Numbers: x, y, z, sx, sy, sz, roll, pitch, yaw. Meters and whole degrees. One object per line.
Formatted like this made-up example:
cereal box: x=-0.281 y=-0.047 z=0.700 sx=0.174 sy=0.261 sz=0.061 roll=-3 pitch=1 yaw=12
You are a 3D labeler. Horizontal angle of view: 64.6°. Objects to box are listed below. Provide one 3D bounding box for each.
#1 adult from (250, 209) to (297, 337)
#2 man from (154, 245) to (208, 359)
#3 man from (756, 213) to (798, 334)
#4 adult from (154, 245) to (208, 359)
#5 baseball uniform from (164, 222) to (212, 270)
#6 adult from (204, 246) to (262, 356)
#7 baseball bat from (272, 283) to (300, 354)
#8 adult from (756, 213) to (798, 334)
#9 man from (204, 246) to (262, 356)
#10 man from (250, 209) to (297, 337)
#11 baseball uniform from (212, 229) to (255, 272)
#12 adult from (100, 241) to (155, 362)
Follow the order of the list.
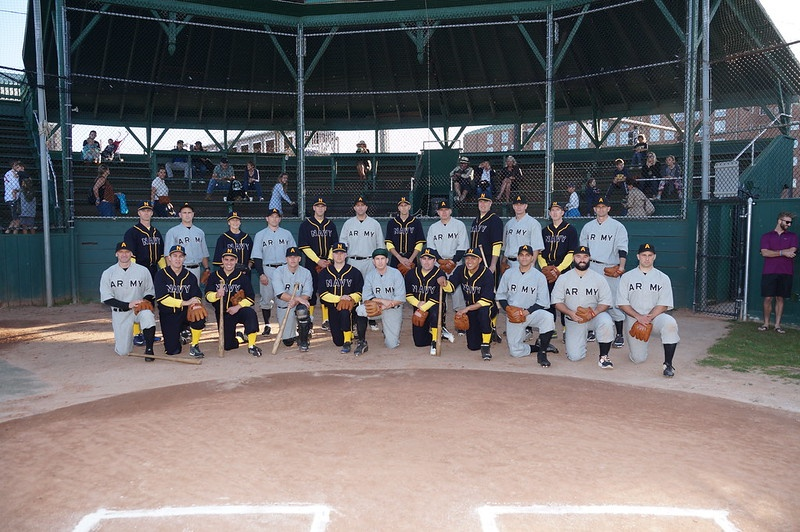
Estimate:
adult: x=-2.896 y=0.164 z=14.783 sx=1.295 sy=2.870 sz=0.929 roll=-5 pitch=10 yaw=-35
man: x=-4.353 y=0.715 z=12.499 sx=0.867 sy=2.013 sz=1.259 roll=-6 pitch=16 yaw=-21
man: x=8.009 y=0.141 z=13.494 sx=0.664 sy=2.529 sz=0.759 roll=8 pitch=17 yaw=28
adult: x=-4.360 y=0.710 z=12.515 sx=0.867 sy=2.013 sz=1.295 roll=-6 pitch=16 yaw=-21
baseball uniform: x=-4.811 y=-0.422 z=14.357 sx=1.041 sy=0.980 sz=0.563 roll=1 pitch=-7 yaw=-43
adult: x=-3.400 y=0.726 z=12.799 sx=0.939 sy=1.942 sz=1.682 roll=-6 pitch=16 yaw=-20
baseball bat: x=-2.335 y=1.099 z=13.034 sx=0.210 sy=1.517 sz=0.136 roll=11 pitch=-29 yaw=25
adult: x=8.002 y=0.139 z=13.501 sx=0.669 sy=2.529 sz=0.730 roll=9 pitch=18 yaw=32
man: x=-3.403 y=0.724 z=12.808 sx=0.939 sy=1.942 sz=1.661 roll=-6 pitch=16 yaw=-20
man: x=-2.909 y=0.182 z=14.785 sx=1.303 sy=2.874 sz=0.922 roll=-5 pitch=10 yaw=-35
baseball uniform: x=-3.737 y=-0.219 z=14.651 sx=1.169 sy=1.121 sz=0.382 roll=-3 pitch=-13 yaw=-42
adult: x=-5.273 y=0.704 z=12.333 sx=0.964 sy=2.149 sz=1.237 roll=-7 pitch=16 yaw=-25
